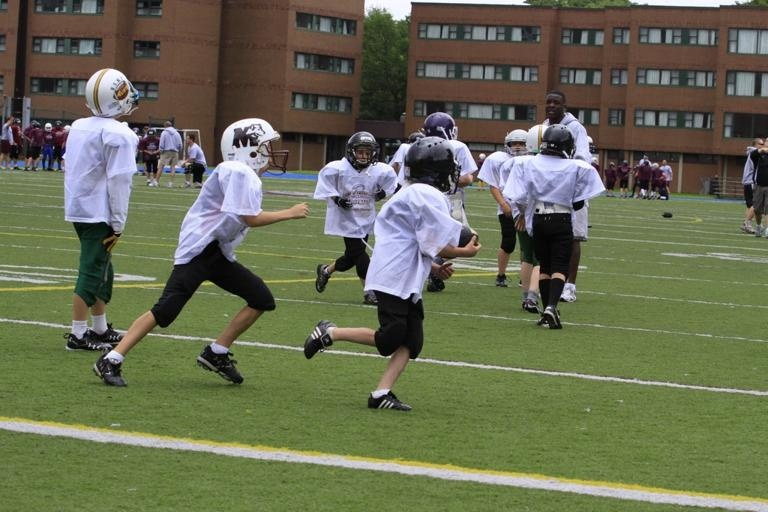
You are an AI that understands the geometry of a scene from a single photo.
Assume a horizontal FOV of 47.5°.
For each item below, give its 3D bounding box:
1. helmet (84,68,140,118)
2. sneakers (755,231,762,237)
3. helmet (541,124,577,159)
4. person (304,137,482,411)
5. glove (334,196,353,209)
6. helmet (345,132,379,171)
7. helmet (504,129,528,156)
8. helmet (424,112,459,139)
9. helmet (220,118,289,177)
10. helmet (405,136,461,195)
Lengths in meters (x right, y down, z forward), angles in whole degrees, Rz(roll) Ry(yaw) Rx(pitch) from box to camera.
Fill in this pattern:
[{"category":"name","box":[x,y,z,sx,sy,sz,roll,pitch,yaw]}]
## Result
[{"category":"helmet","box":[-2.652,-1.574,8.324,0.417,0.386,0.530,12,19,21]},{"category":"sneakers","box":[10.019,-0.604,23.379,0.106,0.162,0.301,4,10,27]},{"category":"helmet","box":[2.038,-1.369,10.308,0.382,0.367,0.518,8,1,33]},{"category":"person","box":[0.230,0.134,6.688,0.762,2.074,0.437,3,7,-2]},{"category":"glove","box":[-0.564,-0.697,11.383,0.233,0.128,0.072,25,44,23]},{"category":"helmet","box":[-0.280,-1.400,11.391,0.454,0.363,0.500,5,4,-5]},{"category":"helmet","box":[1.929,-1.679,12.907,0.384,0.342,0.424,0,1,4]},{"category":"helmet","box":[0.705,-1.809,12.126,0.402,0.367,0.512,10,16,32]},{"category":"helmet","box":[-1.115,-0.947,7.381,0.613,0.397,0.443,-2,12,-34]},{"category":"helmet","box":[0.324,-0.705,6.795,0.397,0.391,0.507,5,1,39]}]
